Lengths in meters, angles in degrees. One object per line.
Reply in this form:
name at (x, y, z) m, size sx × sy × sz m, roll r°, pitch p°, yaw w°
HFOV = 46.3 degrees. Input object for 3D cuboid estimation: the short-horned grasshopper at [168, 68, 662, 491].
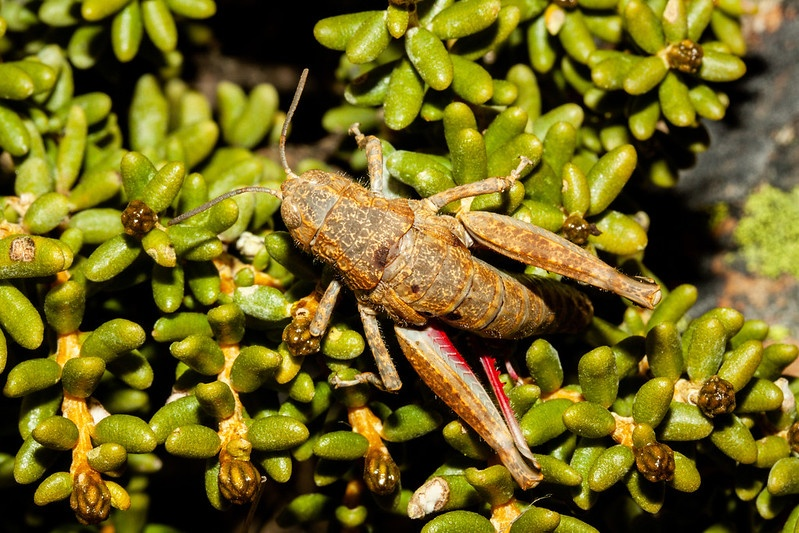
short-horned grasshopper at (0.054, -0.045, 4.663) m, size 2.214 × 0.659 × 1.567 m, roll 35°, pitch 90°, yaw -11°
